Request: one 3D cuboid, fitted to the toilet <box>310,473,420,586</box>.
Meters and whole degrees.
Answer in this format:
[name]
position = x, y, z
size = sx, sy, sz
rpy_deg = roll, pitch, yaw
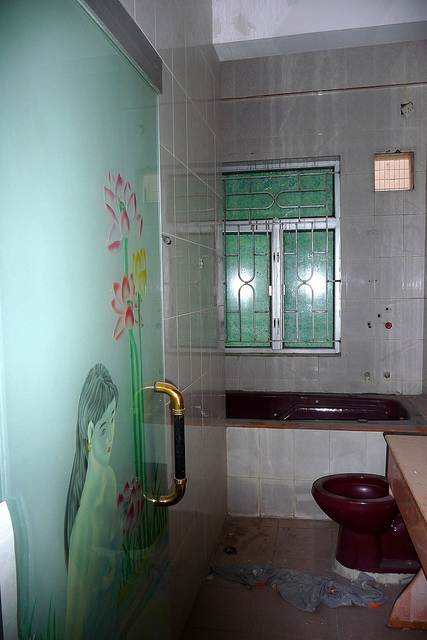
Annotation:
[toilet]
position = 0.732, 1.026, 2.302
size = 0.468, 0.378, 0.367
rpy_deg = -2, 1, 9
